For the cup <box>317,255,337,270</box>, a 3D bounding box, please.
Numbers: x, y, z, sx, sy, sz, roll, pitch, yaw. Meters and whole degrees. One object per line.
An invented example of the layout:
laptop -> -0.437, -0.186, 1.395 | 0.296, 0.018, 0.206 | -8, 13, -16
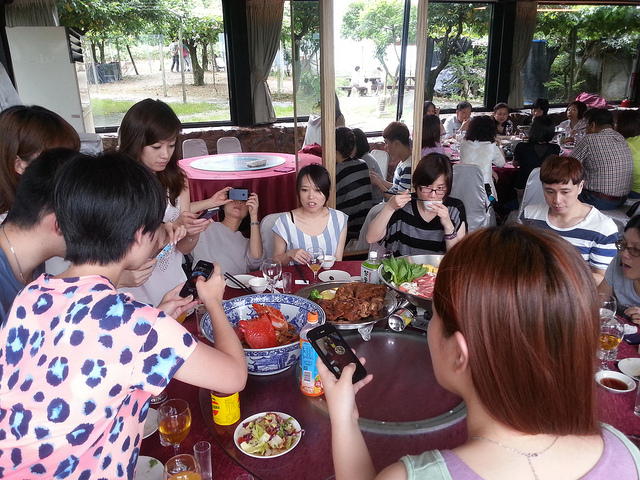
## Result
cup -> 0.033, 0.105, 2.207 | 0.065, 0.039, 0.068 | 0, 14, 0

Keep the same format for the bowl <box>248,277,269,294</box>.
bowl -> -0.281, 0.199, 1.997 | 0.064, 0.048, 0.068 | 0, 22, 0

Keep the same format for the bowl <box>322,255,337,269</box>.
bowl -> 0.045, 0.108, 2.226 | 0.055, 0.029, 0.058 | 1, 18, 0

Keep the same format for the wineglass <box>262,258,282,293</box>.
wineglass -> -0.220, 0.144, 2.050 | 0.079, 0.140, 0.207 | -5, 20, -5

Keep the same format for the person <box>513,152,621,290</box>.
person -> 1.409, -0.061, 2.679 | 0.505, 0.882, 0.596 | -22, 25, -24

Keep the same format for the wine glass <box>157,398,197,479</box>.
wine glass -> -0.399, 0.556, 1.241 | 0.108, 0.216, 0.114 | -3, 23, -8

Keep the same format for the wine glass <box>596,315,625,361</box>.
wine glass -> 1.081, 0.373, 1.663 | 0.099, 0.128, 0.114 | 2, -1, 38

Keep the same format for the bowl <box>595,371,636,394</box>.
bowl -> 0.993, 0.475, 1.507 | 0.127, 0.022, 0.104 | -10, 21, -17

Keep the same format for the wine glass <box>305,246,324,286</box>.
wine glass -> -0.025, 0.133, 2.185 | 0.081, 0.176, 0.082 | -12, 30, -17

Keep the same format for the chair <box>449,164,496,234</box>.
chair -> 1.482, -0.380, 4.210 | 0.416, 0.656, 0.435 | 7, 23, 31

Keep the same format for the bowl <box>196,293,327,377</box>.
bowl -> -0.206, 0.337, 1.561 | 0.439, 0.179, 0.476 | -1, 11, 0

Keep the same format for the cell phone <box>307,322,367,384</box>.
cell phone -> 0.050, 0.331, 1.237 | 0.107, 0.225, 0.023 | -22, 21, 49

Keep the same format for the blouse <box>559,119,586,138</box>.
blouse -> 3.585, -1.623, 6.360 | 0.218, 0.251, 1.001 | 5, 22, 23

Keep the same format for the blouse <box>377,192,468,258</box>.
blouse -> 0.607, -0.098, 2.704 | 0.526, 0.345, 0.267 | 3, 20, 16
